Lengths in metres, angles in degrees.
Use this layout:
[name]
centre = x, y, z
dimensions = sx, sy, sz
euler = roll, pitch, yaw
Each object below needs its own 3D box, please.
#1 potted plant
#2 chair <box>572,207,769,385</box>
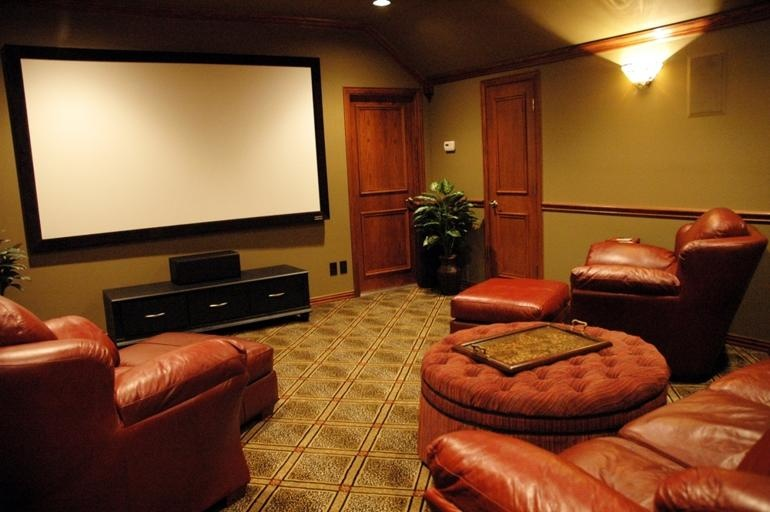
[potted plant]
centre = 0.696, -0.251, 6.313
dimensions = 0.859, 1.348, 0.648
euler = -2, 13, 10
[chair]
centre = 2.206, 0.058, 4.259
dimensions = 1.364, 1.297, 1.401
euler = 8, 16, 33
